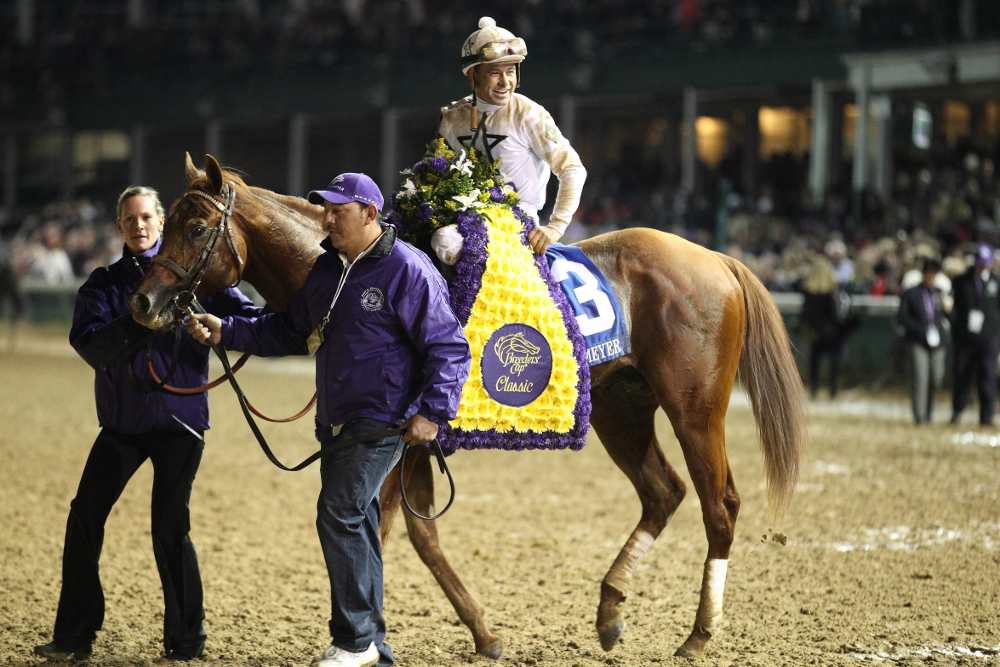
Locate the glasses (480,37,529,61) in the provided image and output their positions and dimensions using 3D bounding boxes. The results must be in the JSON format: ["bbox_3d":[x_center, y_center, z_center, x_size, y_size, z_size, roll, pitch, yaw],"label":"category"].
[{"bbox_3d":[0.046,-2.470,16.850,0.456,0.179,0.194,-2,38,-15],"label":"glasses"}]

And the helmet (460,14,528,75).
[{"bbox_3d":[-0.069,-2.520,16.964,0.524,0.359,0.406,8,19,37],"label":"helmet"}]

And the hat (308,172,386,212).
[{"bbox_3d":[-1.289,-1.207,16.401,0.488,0.256,0.343,5,-1,-15],"label":"hat"}]
